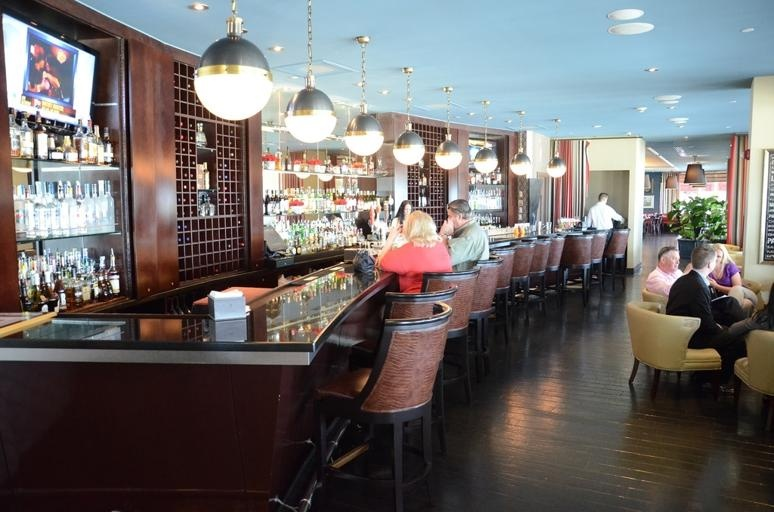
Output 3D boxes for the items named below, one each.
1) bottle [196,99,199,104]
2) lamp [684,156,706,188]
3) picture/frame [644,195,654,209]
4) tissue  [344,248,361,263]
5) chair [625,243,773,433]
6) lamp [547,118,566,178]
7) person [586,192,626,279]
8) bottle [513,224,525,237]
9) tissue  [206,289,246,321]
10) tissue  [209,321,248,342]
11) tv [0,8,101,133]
[{"bbox_3d":[-2.208,-1.821,6.688,0.061,0.057,0.016,12,18,33],"label":"bottle"},{"bbox_3d":[9.590,-2.483,17.589,0.507,0.653,0.803,8,16,29],"label":"lamp"},{"bbox_3d":[13.149,-2.721,28.360,0.057,0.712,0.705,-8,11,-37],"label":"picture/frame"},{"bbox_3d":[-0.388,-0.016,6.515,0.275,0.151,0.176,-2,-13,-1],"label":"tissue "},{"bbox_3d":[3.110,0.698,5.889,1.102,1.509,0.582,2,14,5],"label":"chair"},{"bbox_3d":[3.895,-2.351,12.759,0.392,1.435,3.116,5,14,17],"label":"lamp"},{"bbox_3d":[4.590,-0.643,12.030,0.793,1.306,0.385,4,27,23],"label":"person"},{"bbox_3d":[2.417,-0.445,10.320,0.137,0.215,0.506,5,3,7],"label":"bottle"},{"bbox_3d":[-1.144,0.361,4.099,0.263,0.177,0.214,-3,14,-16],"label":"tissue "},{"bbox_3d":[-1.063,0.512,3.848,0.235,0.023,0.417,-4,15,-18],"label":"tissue "},{"bbox_3d":[-3.068,-1.695,5.136,0.095,0.925,1.254,7,6,17],"label":"tv"}]
